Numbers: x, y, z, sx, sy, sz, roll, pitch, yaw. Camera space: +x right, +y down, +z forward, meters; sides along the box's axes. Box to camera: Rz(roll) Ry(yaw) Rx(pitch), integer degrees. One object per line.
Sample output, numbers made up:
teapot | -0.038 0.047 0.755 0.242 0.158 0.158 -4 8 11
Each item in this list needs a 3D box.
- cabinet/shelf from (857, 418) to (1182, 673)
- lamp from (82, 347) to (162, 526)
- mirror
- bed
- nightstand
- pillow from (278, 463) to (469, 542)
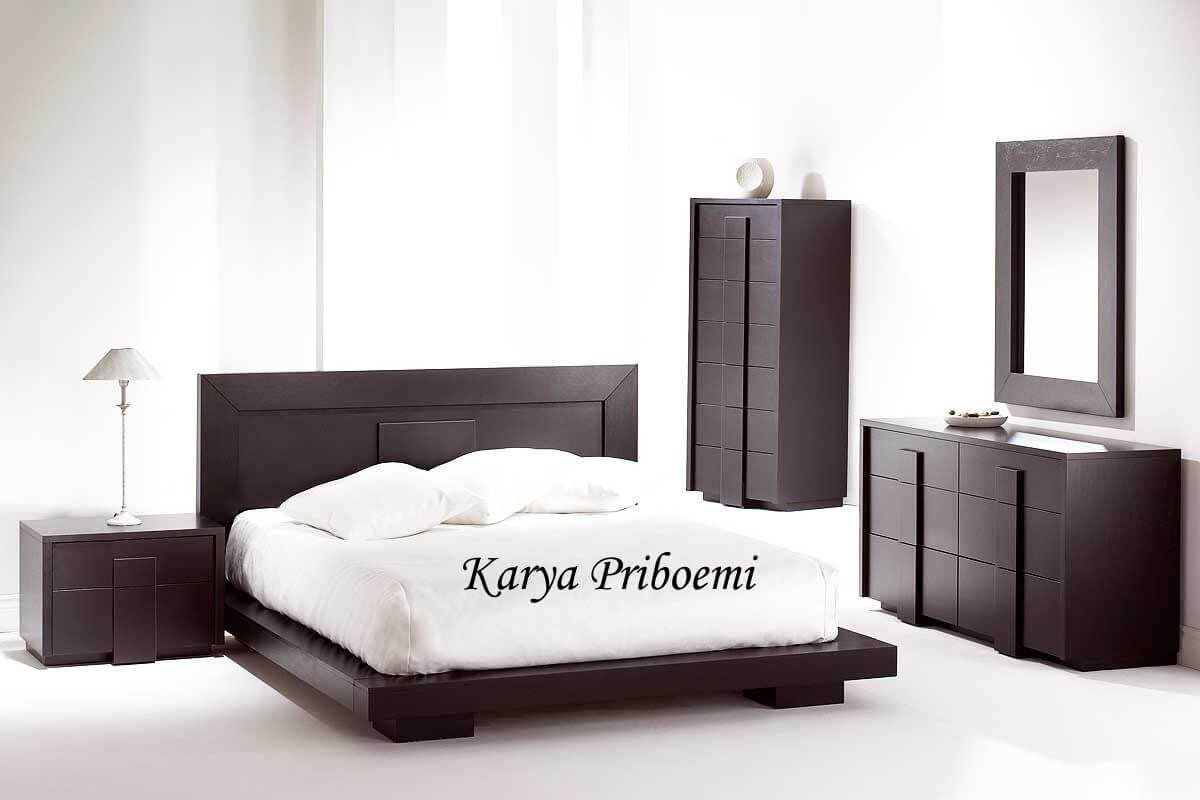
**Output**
cabinet/shelf | 2.021 0.670 5.222 0.644 0.992 1.651 -1 2 -14
lamp | -2.157 0.160 4.736 0.302 0.781 0.459 -3 8 -26
mirror | 2.217 -0.615 5.118 0.200 1.334 0.866 -2 7 -18
bed | -0.369 0.525 4.499 2.229 1.195 2.327 -3 7 -29
nightstand | -2.115 0.694 4.707 0.846 0.594 0.591 1 -3 -27
pillow | -0.939 0.457 4.611 0.420 0.137 0.451 -18 25 -38
